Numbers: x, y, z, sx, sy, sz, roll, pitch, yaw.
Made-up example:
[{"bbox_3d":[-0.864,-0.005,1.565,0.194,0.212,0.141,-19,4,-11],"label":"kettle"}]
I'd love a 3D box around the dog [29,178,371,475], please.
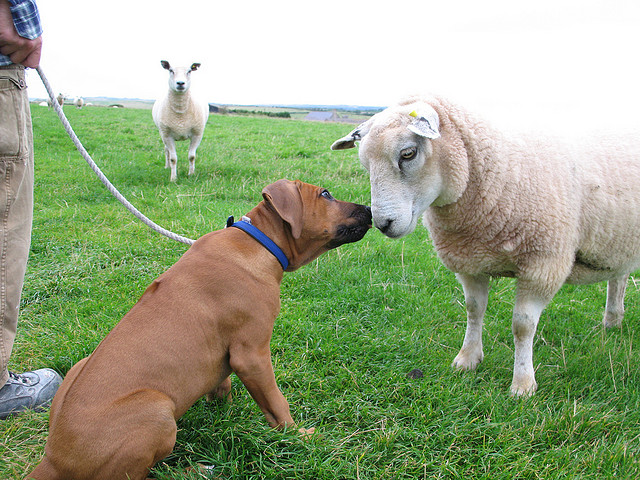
[{"bbox_3d":[-0.778,0.586,3.431,2.146,1.819,0.756,-9,18,-36],"label":"dog"}]

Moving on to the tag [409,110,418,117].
[{"bbox_3d":[0.740,-0.993,4.103,0.059,0.048,0.061,5,15,10],"label":"tag"}]
